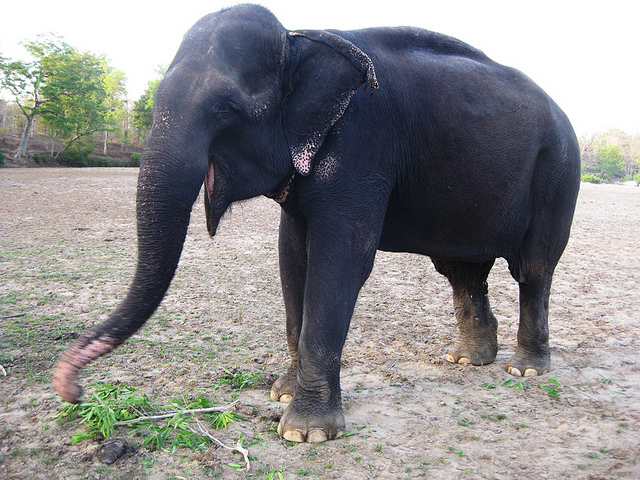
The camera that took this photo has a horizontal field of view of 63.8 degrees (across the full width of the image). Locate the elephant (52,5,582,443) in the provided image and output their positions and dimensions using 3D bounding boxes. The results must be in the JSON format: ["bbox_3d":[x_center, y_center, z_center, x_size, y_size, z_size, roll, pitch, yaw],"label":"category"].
[{"bbox_3d":[0.207,-0.274,4.841,4.668,3.036,2.088,-1,2,-31],"label":"elephant"}]
